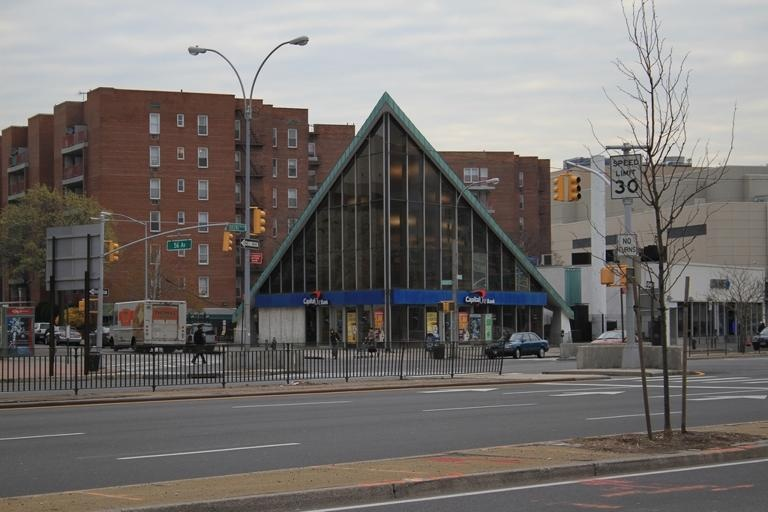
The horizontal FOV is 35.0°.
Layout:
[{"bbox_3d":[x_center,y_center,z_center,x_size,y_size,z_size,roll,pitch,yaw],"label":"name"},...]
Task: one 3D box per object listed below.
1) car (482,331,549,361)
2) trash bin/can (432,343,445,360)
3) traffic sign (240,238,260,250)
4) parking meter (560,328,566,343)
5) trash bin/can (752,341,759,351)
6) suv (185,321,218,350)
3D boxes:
[{"bbox_3d":[8.750,5.754,80.079,2.638,1.973,6.890,-5,-9,21],"label":"car"},{"bbox_3d":[2.987,5.211,64.381,0.766,0.752,1.384,1,6,1],"label":"trash bin/can"},{"bbox_3d":[-7.257,-0.691,66.267,0.838,0.724,2.536,-1,-9,-4],"label":"traffic sign"},{"bbox_3d":[14.554,6.336,98.660,0.499,1.074,0.734,-3,-8,11],"label":"parking meter"},{"bbox_3d":[26.680,6.427,87.183,0.690,0.679,0.591,0,-5,-2],"label":"trash bin/can"},{"bbox_3d":[-14.078,6.519,93.883,2.577,2.255,4.139,1,0,-14],"label":"suv"}]
